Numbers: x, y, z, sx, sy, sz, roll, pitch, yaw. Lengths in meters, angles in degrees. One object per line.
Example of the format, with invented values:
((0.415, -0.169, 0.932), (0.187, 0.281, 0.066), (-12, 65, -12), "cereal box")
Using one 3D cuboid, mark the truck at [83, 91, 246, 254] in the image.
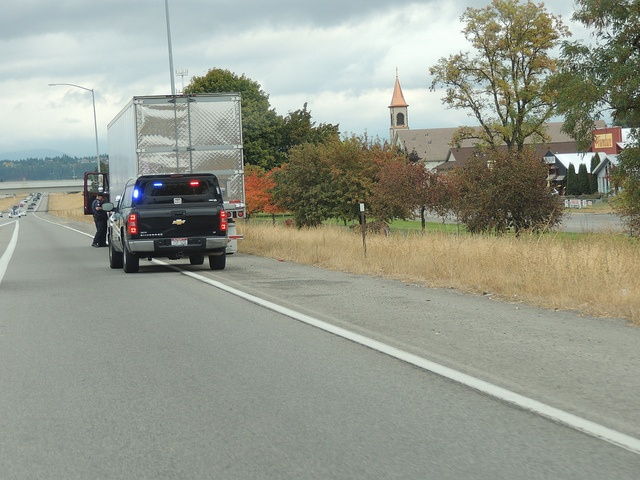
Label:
((-4.768, -2.262, 22.691), (3.215, 4.396, 6.903), (-1, 5, -14), "truck")
